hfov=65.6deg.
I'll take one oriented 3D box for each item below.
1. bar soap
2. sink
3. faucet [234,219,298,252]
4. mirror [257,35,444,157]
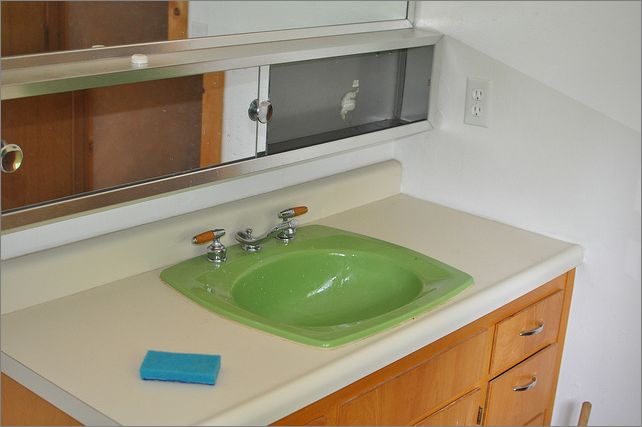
[{"bbox_3d":[-0.324,0.360,1.166,0.179,0.070,0.063,-1,-3,6],"label":"bar soap"},{"bbox_3d":[-0.005,0.191,1.522,0.837,0.319,0.510,1,-3,-31],"label":"sink"},{"bbox_3d":[-0.168,0.072,1.641,0.199,0.074,0.056,-11,34,-16],"label":"faucet"},{"bbox_3d":[0.067,-0.404,1.623,0.150,0.374,0.916,13,22,39],"label":"mirror"}]
